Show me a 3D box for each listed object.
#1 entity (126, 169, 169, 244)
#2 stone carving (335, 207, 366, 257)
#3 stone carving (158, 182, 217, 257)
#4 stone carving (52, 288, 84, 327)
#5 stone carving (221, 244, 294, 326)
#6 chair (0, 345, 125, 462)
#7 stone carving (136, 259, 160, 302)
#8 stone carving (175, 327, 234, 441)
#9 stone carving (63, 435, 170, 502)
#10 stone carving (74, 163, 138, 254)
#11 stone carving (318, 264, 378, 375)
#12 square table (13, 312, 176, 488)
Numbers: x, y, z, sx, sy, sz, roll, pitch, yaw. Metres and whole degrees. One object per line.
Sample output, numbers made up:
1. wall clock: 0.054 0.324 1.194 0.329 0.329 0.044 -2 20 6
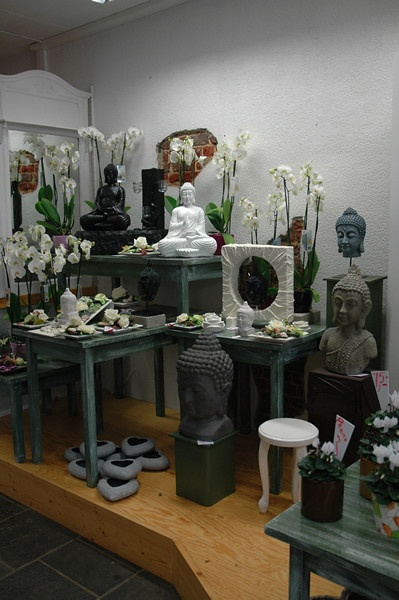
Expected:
1. entity: -0.345 -0.585 2.846 0.214 0.382 0.145 3 14 17
2. stone carving: 0.676 -0.290 2.071 0.118 0.237 0.155 1 3 17
3. stone carving: -0.067 -0.379 2.555 0.350 0.286 0.204 -1 3 -9
4. stone carving: -0.640 0.046 2.257 0.124 0.189 0.123 -6 8 -21
5. stone carving: 0.290 -0.069 2.296 0.382 0.403 0.135 8 17 33
6. chair: -0.864 0.441 2.690 0.510 0.628 0.698 6 9 36
7. stone carving: -0.253 -0.082 2.241 0.047 0.174 0.125 8 30 -8
8. stone carving: 0.020 0.368 1.930 0.232 0.452 0.195 0 3 2
9. stone carving: -0.399 0.819 2.190 0.327 0.086 0.306 6 6 10
10. stone carving: -0.574 -0.577 2.891 0.328 0.516 0.309 6 12 34
11. stone carving: 0.612 0.104 1.882 0.194 0.410 0.186 0 3 0
12. square table: -0.564 0.492 2.374 0.634 0.712 0.528 3 4 42
